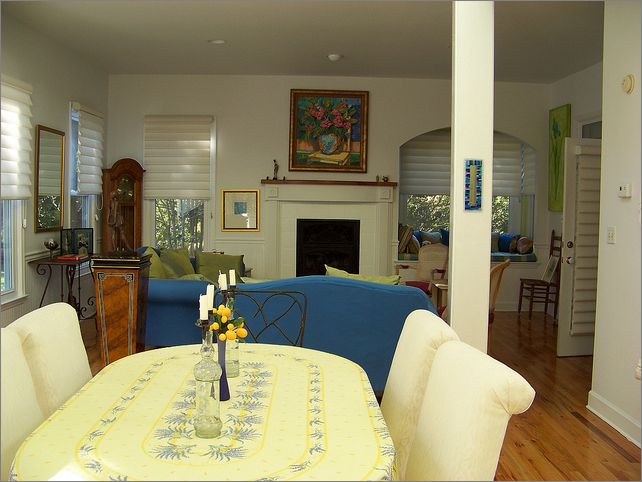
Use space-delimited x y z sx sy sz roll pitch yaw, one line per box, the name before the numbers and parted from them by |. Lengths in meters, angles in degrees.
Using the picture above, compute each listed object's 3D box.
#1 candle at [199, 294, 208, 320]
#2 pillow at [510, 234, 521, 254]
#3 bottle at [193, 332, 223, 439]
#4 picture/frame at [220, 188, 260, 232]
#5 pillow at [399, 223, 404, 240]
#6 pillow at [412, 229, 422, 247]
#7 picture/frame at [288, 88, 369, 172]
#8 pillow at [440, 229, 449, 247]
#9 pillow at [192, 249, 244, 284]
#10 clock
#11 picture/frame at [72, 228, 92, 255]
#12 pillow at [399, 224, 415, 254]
candle | -0.467 0.271 1.876 0.036 0.103 0.035 -5 12 -28
pillow | 2.885 0.059 6.996 0.178 0.240 0.109 -9 -38 26
bottle | -0.449 0.564 1.870 0.105 0.358 0.222 0 11 -7
picture/frame | -1.160 -0.449 6.714 0.535 0.706 0.048 0 0 -5
pillow | 1.239 -0.145 7.159 0.057 0.251 0.186 10 -5 -12
pillow | 1.474 -0.041 7.269 0.179 0.203 0.076 18 -33 -34
picture/frame | 0.068 -1.614 6.637 0.979 1.128 0.087 1 3 -5
pillow | 1.837 -0.036 6.992 0.105 0.219 0.209 4 37 32
pillow | -1.172 0.295 5.409 0.489 0.480 0.149 7 -16 -32
clock | -2.696 -0.488 6.428 0.324 1.550 0.252 -3 38 -25
picture/frame | -2.795 0.009 5.478 0.013 0.346 0.272 -1 -3 33
pillow | 1.238 -0.031 6.950 0.106 0.365 0.344 12 -6 11
